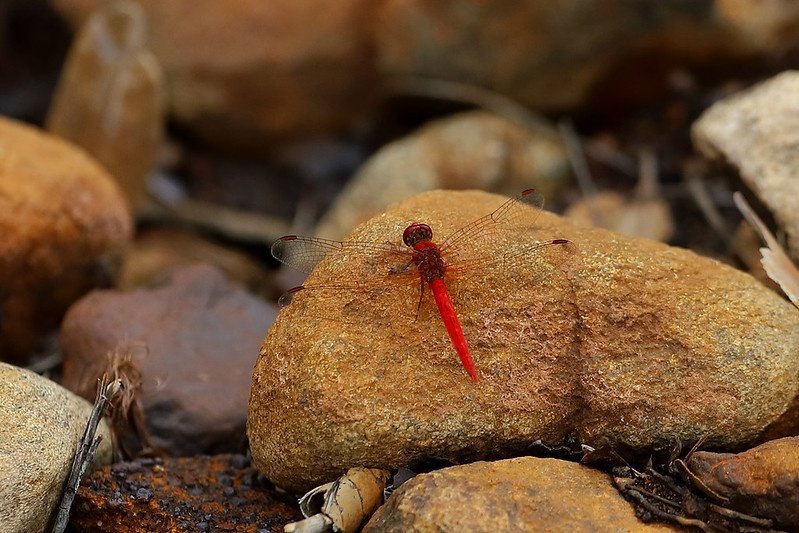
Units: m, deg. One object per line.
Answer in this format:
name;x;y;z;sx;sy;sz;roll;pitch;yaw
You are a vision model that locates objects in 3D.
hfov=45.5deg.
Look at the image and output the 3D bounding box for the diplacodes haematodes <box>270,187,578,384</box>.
diplacodes haematodes;0.148;0.140;4.494;1.557;0.602;0.995;-5;29;-9
